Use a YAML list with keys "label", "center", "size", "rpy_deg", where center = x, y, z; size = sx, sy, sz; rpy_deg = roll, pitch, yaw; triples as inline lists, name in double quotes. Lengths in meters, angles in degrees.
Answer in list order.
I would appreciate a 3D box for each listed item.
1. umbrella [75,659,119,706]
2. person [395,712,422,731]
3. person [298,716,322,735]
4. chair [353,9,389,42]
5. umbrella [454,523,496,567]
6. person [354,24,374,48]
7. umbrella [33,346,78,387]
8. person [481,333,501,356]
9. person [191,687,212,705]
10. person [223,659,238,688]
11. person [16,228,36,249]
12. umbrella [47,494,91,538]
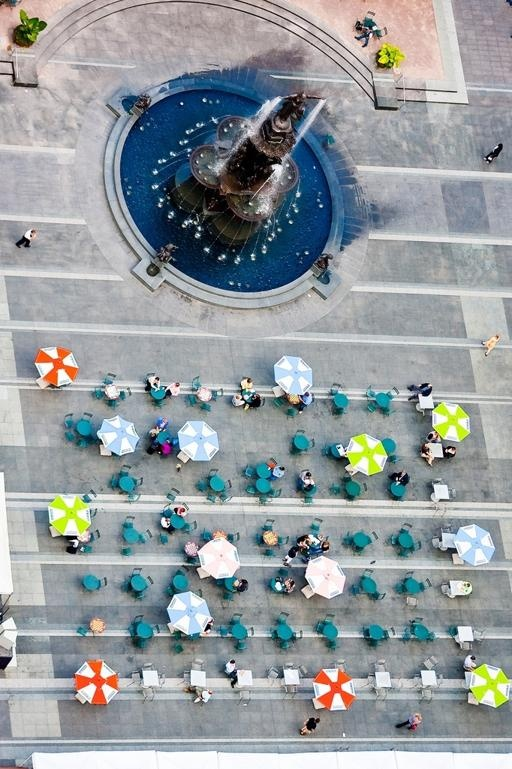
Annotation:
- label: "umbrella"
  center: [-7.177, 13.051, 74.235]
  size: [1.871, 1.996, 0.846]
  rpy_deg: [-20, -2, -17]
- label: "person"
  center: [7.025, 15.534, 77.437]
  size: [1.215, 0.912, 0.889]
  rpy_deg: [-7, 7, -5]
- label: "person"
  center: [2.435, 15.429, 76.175]
  size: [0.952, 0.869, 0.859]
  rpy_deg: [-8, 7, -11]
- label: "chair"
  center: [6.122, -18.810, 91.118]
  size: [1.821, 1.460, 0.668]
  rpy_deg: [-45, -7, -15]
- label: "umbrella"
  center: [10.382, 7.684, 80.217]
  size: [1.960, 1.804, 0.938]
  rpy_deg: [-11, -10, -19]
- label: "person"
  center: [5.820, -18.445, 90.657]
  size: [0.952, 1.148, 0.417]
  rpy_deg: [12, -6, 1]
- label: "umbrella"
  center: [-9.260, -0.597, 78.345]
  size: [1.865, 1.940, 1.544]
  rpy_deg: [-8, 7, -12]
- label: "person"
  center: [11.909, -1.814, 85.929]
  size: [0.810, 1.039, 1.330]
  rpy_deg: [-6, 7, 9]
- label: "person"
  center: [-2.431, 13.880, 75.534]
  size: [0.751, 0.710, 0.316]
  rpy_deg: [1, 25, 10]
- label: "person"
  center: [-1.173, 13.105, 76.188]
  size: [0.503, 0.431, 1.175]
  rpy_deg: [-41, -23, -21]
- label: "person"
  center: [-11.030, -6.768, 80.890]
  size: [0.966, 0.868, 0.794]
  rpy_deg: [-8, 7, -8]
- label: "umbrella"
  center: [-8.416, 6.051, 75.948]
  size: [1.745, 2.058, 1.466]
  rpy_deg: [-8, 7, -12]
